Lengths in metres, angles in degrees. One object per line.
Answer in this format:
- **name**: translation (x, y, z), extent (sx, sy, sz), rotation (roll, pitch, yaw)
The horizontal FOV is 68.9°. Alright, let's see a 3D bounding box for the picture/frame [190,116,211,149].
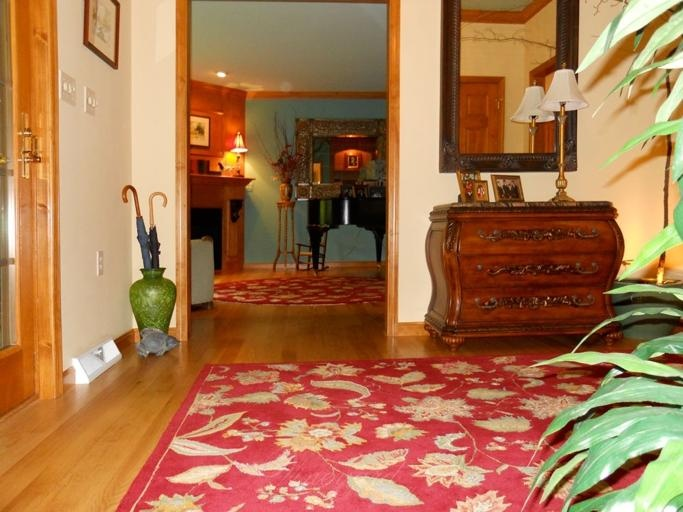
- **picture/frame**: translation (-2.222, -1.977, 7.912), extent (0.123, 0.501, 0.314), rotation (2, 7, 37)

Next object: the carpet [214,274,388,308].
- **carpet**: translation (-0.464, 0.387, 5.963), extent (2.058, 0.057, 2.413), rotation (-2, 4, -5)

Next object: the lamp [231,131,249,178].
- **lamp**: translation (-1.683, -1.718, 8.294), extent (0.262, 0.736, 0.494), rotation (-3, 6, -10)

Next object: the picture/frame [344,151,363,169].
- **picture/frame**: translation (0.199, -1.668, 8.682), extent (0.387, 0.302, 0.190), rotation (1, 8, -1)

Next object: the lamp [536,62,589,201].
- **lamp**: translation (1.477, -0.836, 3.323), extent (0.267, 0.967, 0.593), rotation (0, 6, 22)

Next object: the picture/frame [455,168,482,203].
- **picture/frame**: translation (0.865, -0.490, 3.430), extent (0.155, 0.233, 0.263), rotation (0, 5, 17)

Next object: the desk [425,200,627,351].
- **desk**: translation (1.124, 0.109, 3.471), extent (1.457, 0.877, 0.709), rotation (-1, 4, -23)

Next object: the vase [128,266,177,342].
- **vase**: translation (-1.210, 0.300, 3.206), extent (0.310, 0.403, 0.304), rotation (6, 9, 27)

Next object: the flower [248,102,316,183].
- **flower**: translation (-1.072, -2.236, 9.159), extent (0.988, 0.727, 1.409), rotation (-1, 7, 3)

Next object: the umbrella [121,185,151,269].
- **umbrella**: translation (-1.330, -0.194, 3.241), extent (0.143, 0.548, 0.362), rotation (-5, 6, -23)

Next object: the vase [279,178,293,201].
- **vase**: translation (-0.920, -1.095, 8.388), extent (0.212, 0.359, 0.428), rotation (-3, 5, -7)

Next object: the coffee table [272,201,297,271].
- **coffee table**: translation (-0.953, -0.346, 8.397), extent (0.398, 1.141, 0.563), rotation (-3, 6, -5)
